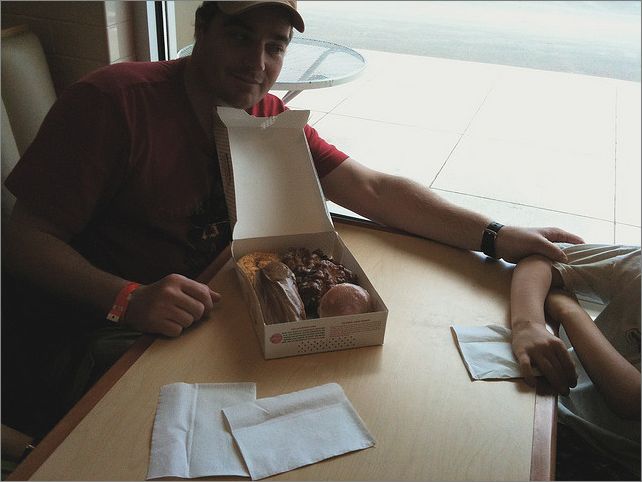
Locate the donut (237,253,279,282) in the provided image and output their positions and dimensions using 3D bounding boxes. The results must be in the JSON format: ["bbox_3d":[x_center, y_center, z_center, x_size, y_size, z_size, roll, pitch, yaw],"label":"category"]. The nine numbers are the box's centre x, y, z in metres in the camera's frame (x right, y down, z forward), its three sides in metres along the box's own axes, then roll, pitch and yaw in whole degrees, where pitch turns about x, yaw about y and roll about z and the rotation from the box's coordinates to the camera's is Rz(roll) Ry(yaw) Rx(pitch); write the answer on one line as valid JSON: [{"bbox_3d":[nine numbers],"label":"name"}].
[{"bbox_3d":[-0.155,0.050,1.193,0.067,0.025,0.076,0,28,-8],"label":"donut"}]

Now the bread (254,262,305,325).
[{"bbox_3d":[-0.092,0.114,1.089,0.098,0.063,0.171,-5,46,-24],"label":"bread"}]

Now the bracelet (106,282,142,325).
[{"bbox_3d":[-0.443,0.138,1.148,0.024,0.063,0.089,39,35,-14],"label":"bracelet"}]
